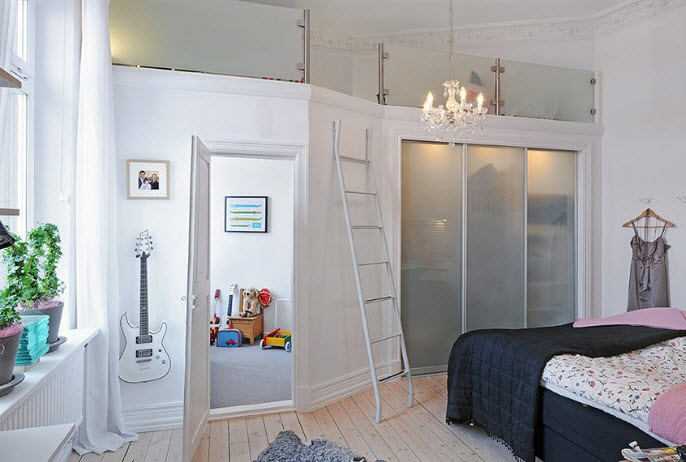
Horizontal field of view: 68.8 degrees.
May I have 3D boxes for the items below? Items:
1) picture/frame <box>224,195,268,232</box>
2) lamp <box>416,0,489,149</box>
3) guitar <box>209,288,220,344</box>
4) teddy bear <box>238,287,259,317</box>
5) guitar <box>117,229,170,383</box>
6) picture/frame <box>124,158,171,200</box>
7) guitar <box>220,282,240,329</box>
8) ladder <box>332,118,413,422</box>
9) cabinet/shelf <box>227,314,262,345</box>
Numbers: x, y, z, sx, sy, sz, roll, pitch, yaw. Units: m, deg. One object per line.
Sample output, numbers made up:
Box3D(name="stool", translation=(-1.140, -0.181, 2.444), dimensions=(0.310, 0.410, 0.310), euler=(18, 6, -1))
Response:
Box3D(name="picture/frame", translation=(-1.377, -0.258, 6.949), dimensions=(0.497, 0.434, 0.034), euler=(1, 1, -4))
Box3D(name="lamp", translation=(1.198, -1.766, 5.321), dimensions=(0.718, 1.664, 2.194), euler=(4, 13, 15))
Box3D(name="guitar", translation=(-1.711, 1.122, 6.742), dimensions=(0.157, 0.609, 0.467), euler=(-2, 13, -10))
Box3D(name="teddy bear", translation=(-1.257, 0.944, 6.740), dimensions=(0.232, 0.344, 0.305), euler=(1, 12, 4))
Box3D(name="guitar", translation=(-1.850, 0.683, 4.554), dimensions=(0.448, 1.344, 0.352), euler=(-6, 14, -25))
Box3D(name="picture/frame", translation=(-1.818, -0.486, 4.601), dimensions=(0.374, 0.386, 0.014), euler=(1, -5, -14))
Box3D(name="guitar", translation=(-1.530, 1.039, 6.845), dimensions=(0.201, 0.669, 0.141), euler=(3, -3, -3))
Box3D(name="ladder", translation=(0.363, 0.286, 5.123), dimensions=(0.800, 2.815, 1.140), euler=(-3, 13, -15))
Box3D(name="cabinet/shelf", translation=(-1.314, 1.309, 6.740), dimensions=(0.385, 0.346, 0.386), euler=(0, -1, 8))
